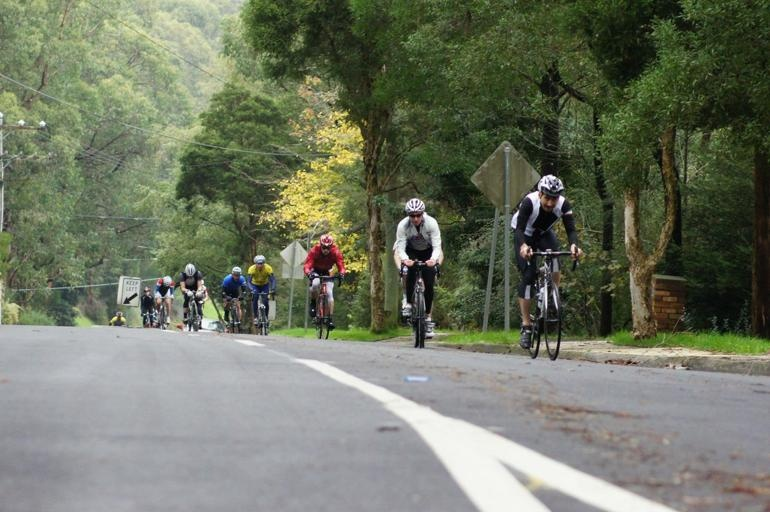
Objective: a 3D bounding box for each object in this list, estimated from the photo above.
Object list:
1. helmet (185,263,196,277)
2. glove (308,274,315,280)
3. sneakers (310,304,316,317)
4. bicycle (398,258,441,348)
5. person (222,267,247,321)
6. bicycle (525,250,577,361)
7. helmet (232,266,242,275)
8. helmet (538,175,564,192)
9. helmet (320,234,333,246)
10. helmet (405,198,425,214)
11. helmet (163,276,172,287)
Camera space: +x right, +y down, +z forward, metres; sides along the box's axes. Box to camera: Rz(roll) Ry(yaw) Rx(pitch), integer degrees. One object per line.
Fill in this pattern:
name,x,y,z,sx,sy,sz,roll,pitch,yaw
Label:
helmet,-5.893,0.412,28.350,0.312,0.482,0.440,4,-5,-8
glove,-1.619,0.433,20.843,0.145,0.114,0.212,-2,-8,23
sneakers,-1.669,1.239,21.653,0.090,0.278,0.184,2,1,32
bicycle,0.621,0.822,16.578,0.381,1.490,0.450,1,-7,3
person,-4.188,1.030,25.965,0.610,1.493,2.406,2,-8,-10
bicycle,2.478,0.705,13.972,0.579,1.687,1.318,1,-7,5
helmet,-4.576,0.434,28.912,0.261,0.335,0.377,2,-14,-18
helmet,2.449,-1.060,13.871,0.334,0.336,0.424,0,-8,9
helmet,-1.305,-0.359,20.870,0.257,0.304,0.415,2,-8,-5
helmet,0.540,-0.876,16.571,0.259,0.290,0.359,0,-7,-1
helmet,-7.126,0.784,30.770,0.224,0.325,0.298,1,-7,-22
